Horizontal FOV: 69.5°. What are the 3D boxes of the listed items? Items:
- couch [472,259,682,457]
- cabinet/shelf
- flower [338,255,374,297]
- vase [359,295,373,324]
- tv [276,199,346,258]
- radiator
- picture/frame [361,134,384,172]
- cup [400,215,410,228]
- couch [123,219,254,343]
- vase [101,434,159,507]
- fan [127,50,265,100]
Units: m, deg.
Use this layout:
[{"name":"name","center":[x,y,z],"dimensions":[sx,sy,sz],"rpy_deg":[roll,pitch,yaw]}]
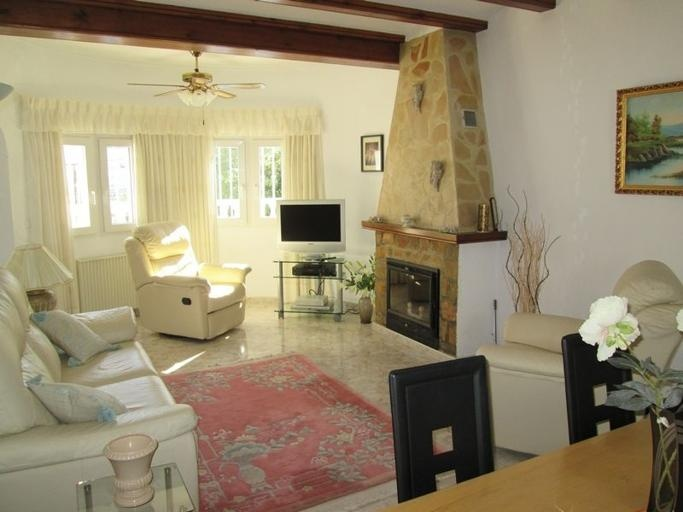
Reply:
[{"name":"couch","center":[1.606,0.688,3.590],"dimensions":[1.393,1.539,1.354],"rpy_deg":[5,11,41]},{"name":"cabinet/shelf","center":[-0.394,0.375,6.761],"dimensions":[0.883,0.756,0.883],"rpy_deg":[0,3,15]},{"name":"flower","center":[0.253,0.271,6.670],"dimensions":[0.481,0.532,0.508],"rpy_deg":[-2,1,-27]},{"name":"vase","center":[0.303,0.655,6.251],"dimensions":[0.167,0.345,0.237],"rpy_deg":[0,11,3]},{"name":"tv","center":[-0.400,-0.392,6.456],"dimensions":[0.793,0.652,0.088],"rpy_deg":[1,5,7]},{"name":"radiator","center":[-2.957,0.325,6.134],"dimensions":[0.753,0.694,0.125],"rpy_deg":[-12,14,-36]},{"name":"picture/frame","center":[0.397,-1.353,6.517],"dimensions":[0.089,0.493,0.444],"rpy_deg":[-9,14,-35]},{"name":"cup","center":[0.687,-0.379,5.319],"dimensions":[0.104,0.110,0.117],"rpy_deg":[0,-8,18]},{"name":"couch","center":[-1.854,0.266,6.239],"dimensions":[1.434,1.518,1.329],"rpy_deg":[5,12,13]},{"name":"vase","center":[-0.837,0.831,1.972],"dimensions":[0.180,0.235,0.219],"rpy_deg":[-7,12,-28]},{"name":"fan","center":[-1.495,-1.800,4.920],"dimensions":[1.168,0.493,1.071],"rpy_deg":[10,30,16]}]
